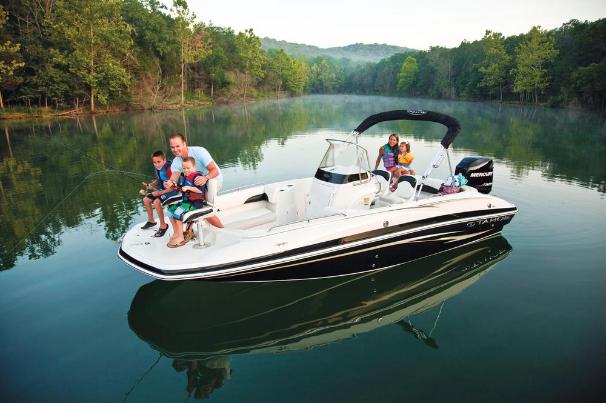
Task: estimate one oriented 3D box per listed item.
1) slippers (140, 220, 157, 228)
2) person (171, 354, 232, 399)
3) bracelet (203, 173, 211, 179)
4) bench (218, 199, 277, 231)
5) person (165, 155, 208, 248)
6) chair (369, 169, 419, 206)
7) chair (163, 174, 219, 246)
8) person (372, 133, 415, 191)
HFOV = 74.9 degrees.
[{"bbox_3d":[-3.044,0.448,7.801,0.298,0.123,0.107,-16,20,-23],"label":"slippers"},{"bbox_3d":[-1.568,2.695,6.082,0.888,0.240,0.587,0,23,-6],"label":"person"},{"bbox_3d":[-1.749,-0.456,7.204,0.118,0.058,0.162,3,5,-28],"label":"bracelet"},{"bbox_3d":[-1.153,0.333,8.598,1.066,0.251,0.564,-13,32,-27],"label":"bench"},{"bbox_3d":[-2.122,0.025,7.073,0.568,1.623,0.578,12,25,20],"label":"person"},{"bbox_3d":[2.080,-0.250,8.731,0.983,0.801,0.712,4,9,-36],"label":"chair"},{"bbox_3d":[-1.939,0.085,7.558,1.273,1.286,1.118,-4,10,-27],"label":"chair"},{"bbox_3d":[2.168,-0.981,9.617,1.019,1.264,0.688,8,23,20],"label":"person"}]
